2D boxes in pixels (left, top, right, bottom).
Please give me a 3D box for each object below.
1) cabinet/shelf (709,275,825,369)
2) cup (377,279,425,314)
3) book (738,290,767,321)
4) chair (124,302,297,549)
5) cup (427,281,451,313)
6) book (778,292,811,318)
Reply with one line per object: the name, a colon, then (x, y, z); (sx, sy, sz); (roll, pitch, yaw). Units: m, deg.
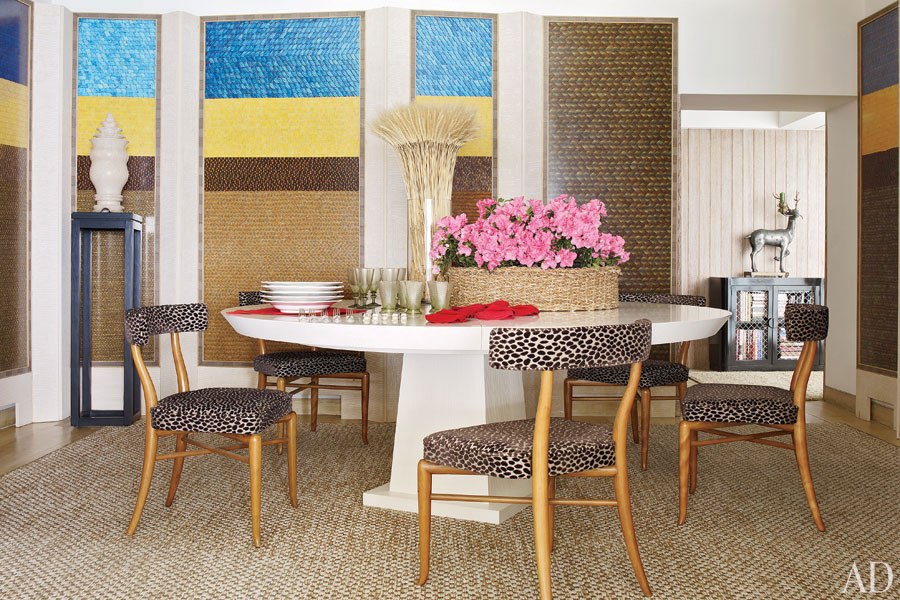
cabinet/shelf: (2.836, 0.207, 6.865); (1.024, 0.892, 0.376); (0, -3, 1)
cup: (-0.249, -0.019, 3.991); (0.238, 0.162, 0.129); (-1, 7, 7)
book: (3.081, 0.060, 7.904); (0.319, 0.309, 0.083); (1, 0, 0)
chair: (-1.400, 0.597, 4.652); (1.228, 1.568, 1.142); (1, 2, 9)
cup: (-0.060, -0.020, 3.936); (0.147, 0.138, 0.141); (0, -1, 0)
book: (2.657, 0.034, 5.942); (0.277, 0.240, 0.064); (-1, -5, 2)
